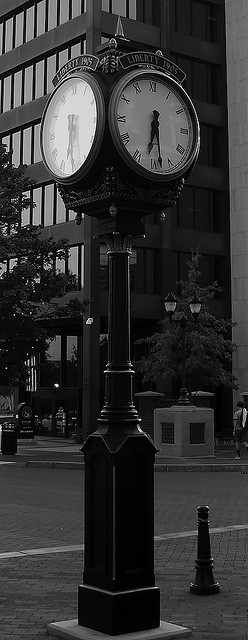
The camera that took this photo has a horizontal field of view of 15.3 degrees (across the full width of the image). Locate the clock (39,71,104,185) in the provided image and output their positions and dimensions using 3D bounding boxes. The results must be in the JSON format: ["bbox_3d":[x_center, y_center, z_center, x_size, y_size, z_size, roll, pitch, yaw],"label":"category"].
[{"bbox_3d":[-0.401,-1.381,6.611,0.173,0.811,0.907,1,-5,-28],"label":"clock"}]

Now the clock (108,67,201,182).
[{"bbox_3d":[0.215,-1.355,6.505,0.621,0.991,0.148,4,-27,-14],"label":"clock"}]

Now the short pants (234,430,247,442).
[{"bbox_3d":[2.908,2.912,23.166,0.287,0.550,0.412,-1,-2,16],"label":"short pants"}]
